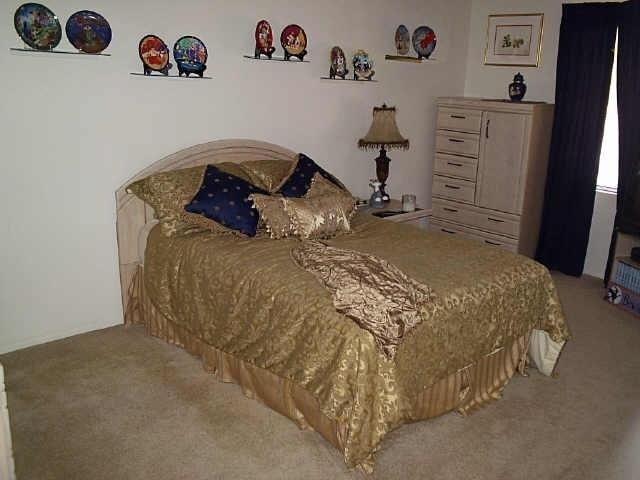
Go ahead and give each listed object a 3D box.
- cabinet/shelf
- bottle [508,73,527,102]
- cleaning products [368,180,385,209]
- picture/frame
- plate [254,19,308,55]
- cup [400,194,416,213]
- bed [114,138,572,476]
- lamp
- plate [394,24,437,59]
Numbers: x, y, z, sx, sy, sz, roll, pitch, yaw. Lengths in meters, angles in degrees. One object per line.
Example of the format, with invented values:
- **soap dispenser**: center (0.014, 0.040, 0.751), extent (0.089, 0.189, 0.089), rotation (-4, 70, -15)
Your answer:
- **cabinet/shelf**: center (1.847, -0.644, 4.893), extent (0.673, 2.197, 1.152), rotation (-12, 19, -40)
- **bottle**: center (2.128, -1.635, 5.062), extent (0.168, 0.300, 0.503), rotation (8, 18, 22)
- **cleaning products**: center (0.534, -0.475, 4.836), extent (0.153, 0.298, 0.271), rotation (-3, 13, -10)
- **picture/frame**: center (2.183, -2.236, 5.263), extent (0.020, 0.517, 0.563), rotation (-14, 29, -39)
- **plate**: center (-0.372, -1.818, 4.221), extent (0.347, 0.253, 0.051), rotation (-7, 22, -25)
- **cup**: center (0.882, -0.364, 4.768), extent (0.145, 0.186, 0.171), rotation (3, 12, 18)
- **bed**: center (-0.129, -0.246, 3.317), extent (1.875, 1.553, 2.760), rotation (-23, 33, -39)
- **lamp**: center (0.643, -0.887, 4.839), extent (0.601, 1.003, 0.607), rotation (-14, 23, -36)
- **plate**: center (1.075, -2.168, 5.181), extent (0.664, 0.342, 0.059), rotation (-11, 20, -35)
